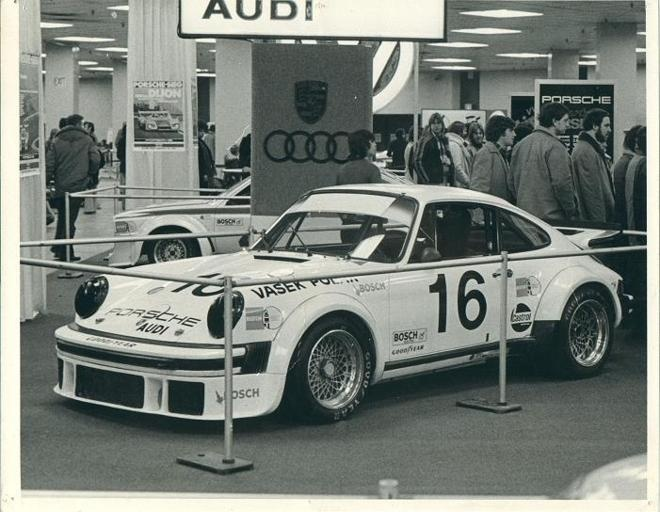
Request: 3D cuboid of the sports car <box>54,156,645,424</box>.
[{"bbox_3d":[0.133,0.338,7.597,4.837,1.839,1.508,-4,8,-27],"label":"sports car"}]
